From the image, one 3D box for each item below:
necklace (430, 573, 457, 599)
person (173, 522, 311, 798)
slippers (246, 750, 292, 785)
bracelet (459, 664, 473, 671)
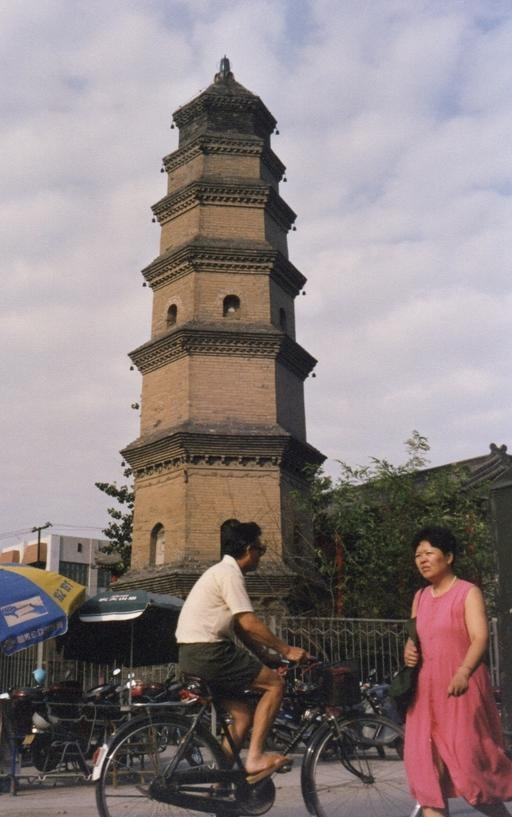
[{"bbox_3d":[0.982,0.923,4.818,0.052,0.128,0.100,-2,21,35],"label":"necklace"},{"bbox_3d":[-0.107,1.351,5.262,0.704,1.424,0.574,1,-13,-5],"label":"person"},{"bbox_3d":[0.079,1.950,5.003,0.148,0.150,0.231,-12,-17,43],"label":"slippers"},{"bbox_3d":[1.003,1.232,4.398,0.051,0.036,0.032,-5,-13,20],"label":"bracelet"}]
